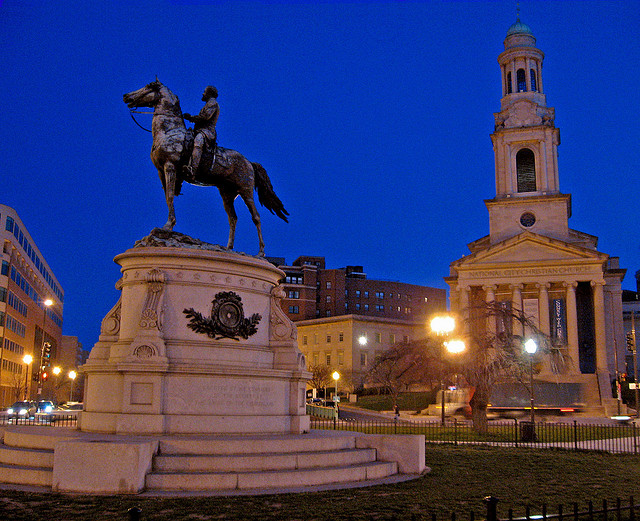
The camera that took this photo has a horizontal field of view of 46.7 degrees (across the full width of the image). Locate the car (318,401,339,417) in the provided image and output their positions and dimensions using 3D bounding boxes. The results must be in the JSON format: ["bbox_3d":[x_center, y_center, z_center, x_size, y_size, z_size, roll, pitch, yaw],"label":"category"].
[{"bbox_3d":[0.725,14.640,73.169,1.903,0.997,1.356,9,-12,-40],"label":"car"}]
